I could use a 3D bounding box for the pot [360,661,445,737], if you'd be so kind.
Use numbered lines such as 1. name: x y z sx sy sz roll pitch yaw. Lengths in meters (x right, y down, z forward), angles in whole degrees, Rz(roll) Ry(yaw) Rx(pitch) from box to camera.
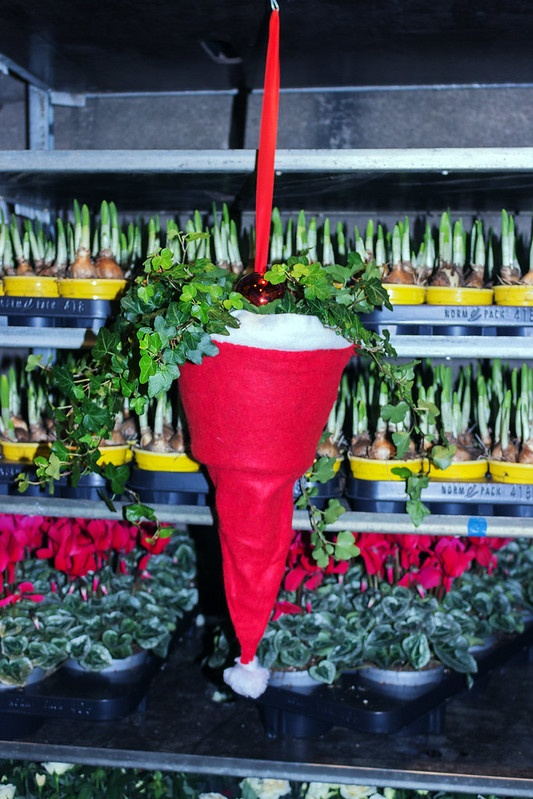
1. pot: 0.256 0.588 1.484 0.162 0.113 0.145 2 2 41

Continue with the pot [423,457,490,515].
1. pot: 0.361 0.155 1.374 0.121 0.116 0.114 1 -2 0

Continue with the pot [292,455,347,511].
1. pot: 0.111 0.154 1.351 0.107 0.074 0.103 0 -4 0

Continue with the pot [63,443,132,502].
1. pot: -0.312 0.129 1.416 0.128 0.087 0.125 2 1 0

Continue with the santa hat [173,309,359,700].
1. santa hat: -0.002 0.149 0.936 0.222 0.512 0.223 1 -1 -27

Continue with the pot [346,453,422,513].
1. pot: 0.214 0.152 1.340 0.113 0.079 0.112 1 -4 0

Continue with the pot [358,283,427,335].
1. pot: 0.235 -0.155 1.366 0.118 0.079 0.112 1 1 0

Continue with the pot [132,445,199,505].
1. pot: -0.184 0.142 1.380 0.119 0.074 0.106 4 -1 0

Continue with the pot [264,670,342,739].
1. pot: 0.046 0.599 1.433 0.171 0.115 0.141 0 -4 -11

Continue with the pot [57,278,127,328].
1. pot: -0.339 -0.184 1.392 0.110 0.074 0.106 2 7 0
